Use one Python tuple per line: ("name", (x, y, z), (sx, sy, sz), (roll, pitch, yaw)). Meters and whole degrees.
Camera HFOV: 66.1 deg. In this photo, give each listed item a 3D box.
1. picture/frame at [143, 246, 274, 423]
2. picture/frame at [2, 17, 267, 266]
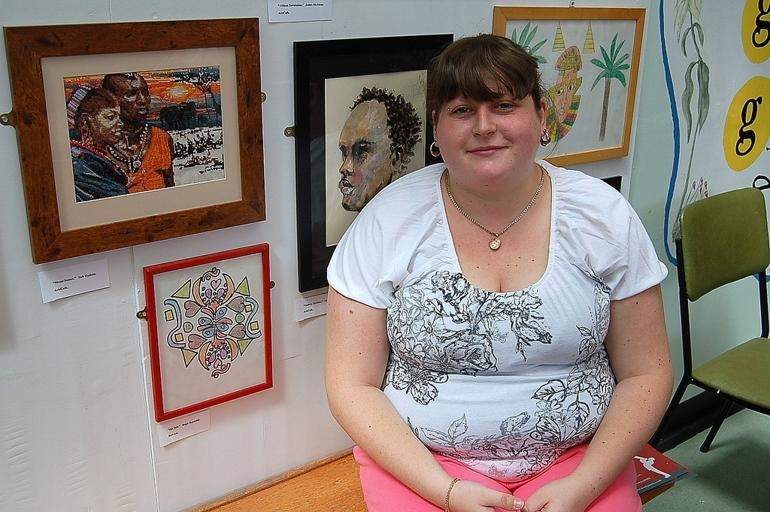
("picture/frame", (-0.521, 0.214, 1.699), (0.445, 0.519, 0.038), (-14, 25, -32))
("picture/frame", (-0.653, -0.305, 1.489), (0.592, 0.573, 0.042), (-11, 24, -21))
